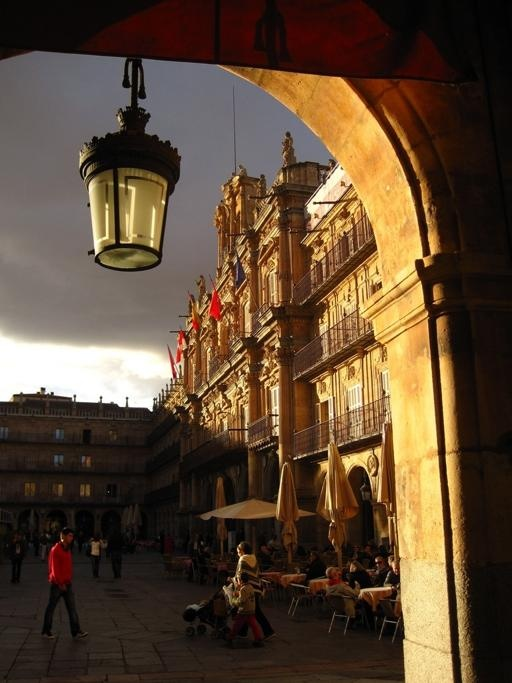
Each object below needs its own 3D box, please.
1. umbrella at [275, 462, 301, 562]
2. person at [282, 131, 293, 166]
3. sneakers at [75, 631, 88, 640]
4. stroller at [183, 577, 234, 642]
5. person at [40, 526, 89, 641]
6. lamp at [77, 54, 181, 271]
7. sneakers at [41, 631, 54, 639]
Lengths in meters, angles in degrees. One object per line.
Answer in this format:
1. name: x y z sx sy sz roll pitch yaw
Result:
1. umbrella: 0.771 4.103 16.285 0.611 2.324 0.549 -8 -19 20
2. person: 1.339 -7.912 27.873 0.448 1.724 0.424 0 -14 -3
3. sneakers: -2.436 4.098 9.485 0.155 0.087 0.358 2 -14 -10
4. stroller: -0.721 4.010 10.105 0.643 0.644 0.439 -2 -17 14
5. person: -2.729 3.447 9.754 0.587 1.482 0.993 2 -14 -13
6. lamp: -0.615 -0.913 3.325 0.481 1.097 0.361 2 -14 -10
7. sneakers: -2.880 4.074 9.419 0.189 0.086 0.067 1 -14 -4
